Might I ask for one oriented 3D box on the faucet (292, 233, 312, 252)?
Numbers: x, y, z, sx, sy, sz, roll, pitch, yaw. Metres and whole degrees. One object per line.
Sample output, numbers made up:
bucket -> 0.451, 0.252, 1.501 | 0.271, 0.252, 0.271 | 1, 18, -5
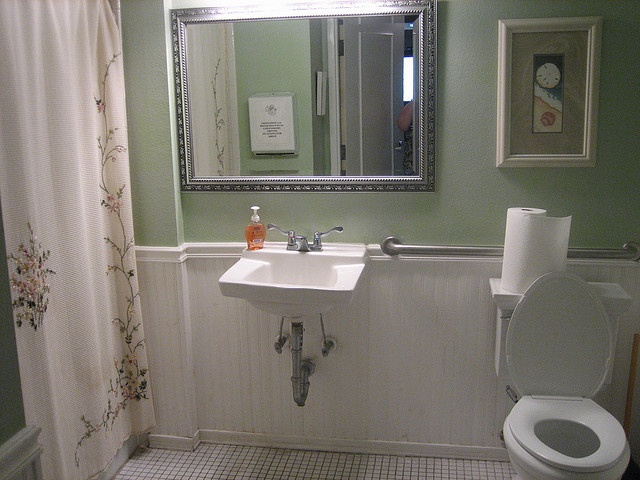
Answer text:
faucet -> -0.084, 0.018, 2.584 | 0.091, 0.086, 0.051 | 1, 12, 7

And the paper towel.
paper towel -> 0.929, 0.024, 2.395 | 0.235, 0.341, 0.187 | -6, 19, -9

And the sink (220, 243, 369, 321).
sink -> -0.109, 0.238, 2.463 | 0.604, 0.348, 0.450 | 3, 17, 13
